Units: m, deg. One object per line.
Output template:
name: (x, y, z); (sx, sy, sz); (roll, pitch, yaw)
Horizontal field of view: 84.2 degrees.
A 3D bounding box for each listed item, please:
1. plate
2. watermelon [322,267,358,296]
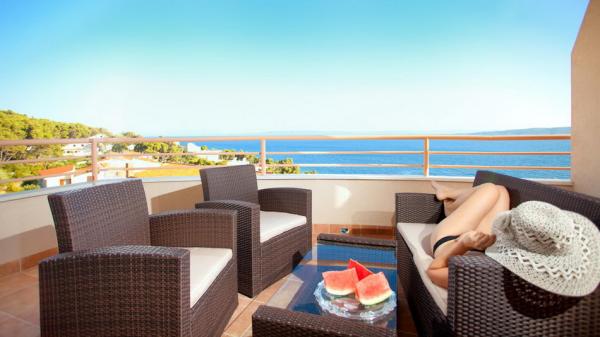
plate: (0.404, 1.021, 2.527); (0.612, 0.156, 0.289); (-1, 5, 14)
watermelon: (0.317, 0.885, 2.666); (0.296, 0.188, 0.213); (0, 0, 4)
